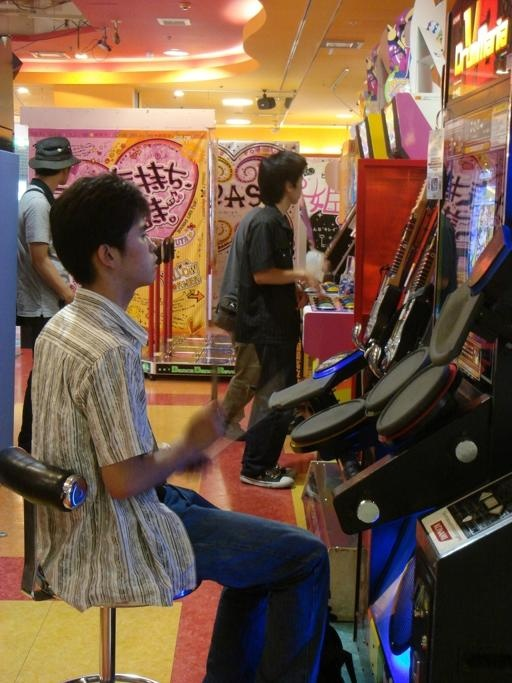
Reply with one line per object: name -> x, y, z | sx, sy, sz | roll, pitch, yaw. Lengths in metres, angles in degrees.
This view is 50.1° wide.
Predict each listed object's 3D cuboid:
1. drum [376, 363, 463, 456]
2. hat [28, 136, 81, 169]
drum -> 0.248, 0.101, 0.847 | 0.117, 0.142, 0.153 | 5, 10, 24
hat -> -1.230, -1.144, 3.376 | 0.243, 0.133, 0.273 | 6, 19, 22
